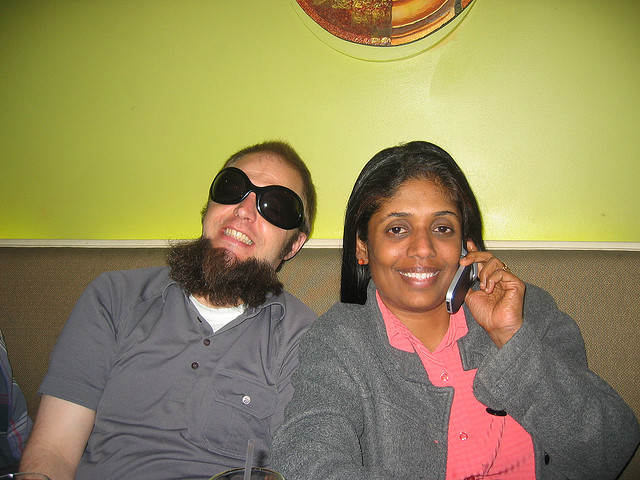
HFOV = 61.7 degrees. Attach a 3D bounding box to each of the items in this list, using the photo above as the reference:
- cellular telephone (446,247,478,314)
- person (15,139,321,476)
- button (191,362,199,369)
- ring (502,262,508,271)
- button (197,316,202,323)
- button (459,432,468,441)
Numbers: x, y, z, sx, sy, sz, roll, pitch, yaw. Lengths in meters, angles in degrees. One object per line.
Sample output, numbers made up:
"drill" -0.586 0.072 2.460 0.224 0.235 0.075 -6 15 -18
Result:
"cellular telephone" 0.613 0.179 2.327 0.027 0.278 0.127 7 -47 29
"person" -0.661 0.342 2.519 0.923 1.324 0.913 32 -9 -4
"button" -0.554 0.562 2.373 0.027 0.028 0.006 -3 1 -7
"ring" 0.840 0.125 2.442 0.012 0.027 0.033 26 14 -31
"button" -0.553 0.371 2.465 0.007 0.026 0.006 -34 -2 39
"button" 0.586 0.809 2.195 0.023 0.029 0.011 -6 -21 15
